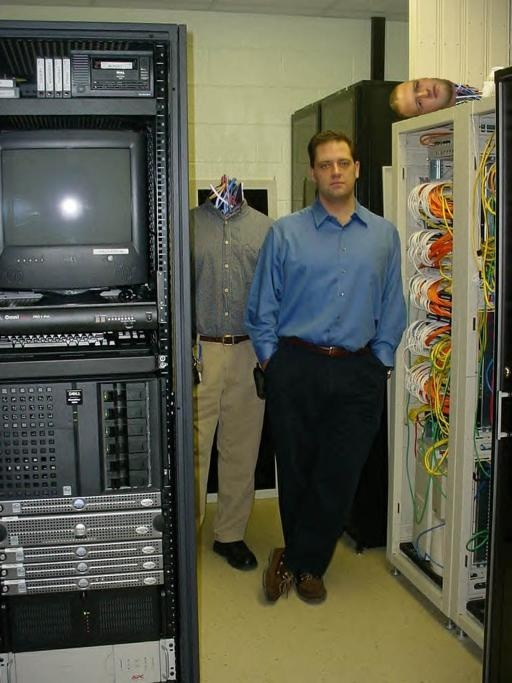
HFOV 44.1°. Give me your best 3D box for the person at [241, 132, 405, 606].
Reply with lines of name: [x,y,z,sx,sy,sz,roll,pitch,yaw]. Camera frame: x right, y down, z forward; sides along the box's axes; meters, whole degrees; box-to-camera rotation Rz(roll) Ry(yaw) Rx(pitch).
person: [0.258,0.053,2.211,0.569,1.545,0.262,-1,6,-1]

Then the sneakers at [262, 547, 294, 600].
sneakers: [0.085,0.876,2.347,0.086,0.081,0.239,-14,43,20]

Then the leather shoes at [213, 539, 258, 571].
leather shoes: [-0.084,0.867,2.621,0.157,0.075,0.078,12,10,44]

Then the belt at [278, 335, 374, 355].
belt: [0.243,0.017,2.171,0.305,0.062,0.098,0,7,4]
